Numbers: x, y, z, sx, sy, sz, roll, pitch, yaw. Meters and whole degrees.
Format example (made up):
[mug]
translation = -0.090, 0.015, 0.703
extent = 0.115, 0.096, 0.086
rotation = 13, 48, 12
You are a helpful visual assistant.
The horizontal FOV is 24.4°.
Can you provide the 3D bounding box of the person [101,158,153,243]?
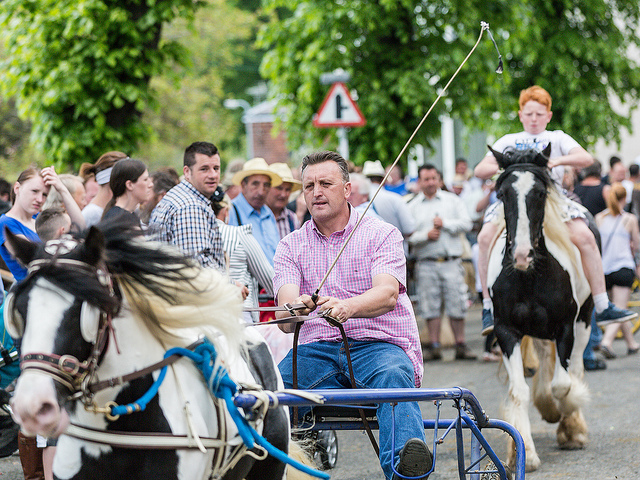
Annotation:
[person]
translation = -1.829, -0.375, 13.638
extent = 0.451, 0.657, 0.757
rotation = -7, 13, -10
